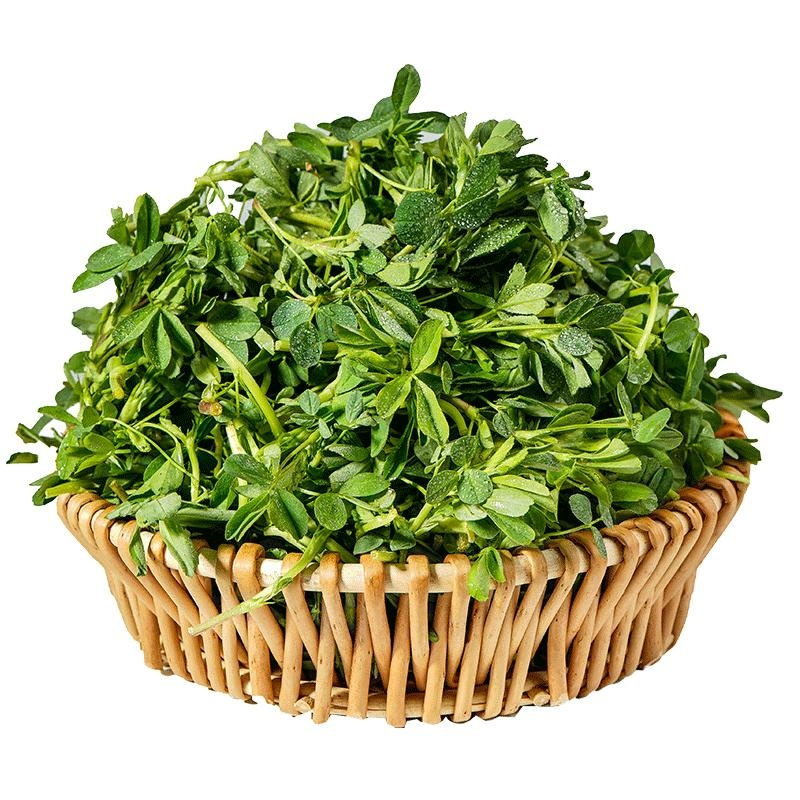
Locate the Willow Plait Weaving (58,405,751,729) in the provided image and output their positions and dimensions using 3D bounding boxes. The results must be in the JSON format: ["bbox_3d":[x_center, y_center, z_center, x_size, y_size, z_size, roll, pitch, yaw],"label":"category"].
[{"bbox_3d":[0.027,0.214,1.429,0.962,0.507,0.339,1,-57,1],"label":"Willow Plait Weaving"}]
